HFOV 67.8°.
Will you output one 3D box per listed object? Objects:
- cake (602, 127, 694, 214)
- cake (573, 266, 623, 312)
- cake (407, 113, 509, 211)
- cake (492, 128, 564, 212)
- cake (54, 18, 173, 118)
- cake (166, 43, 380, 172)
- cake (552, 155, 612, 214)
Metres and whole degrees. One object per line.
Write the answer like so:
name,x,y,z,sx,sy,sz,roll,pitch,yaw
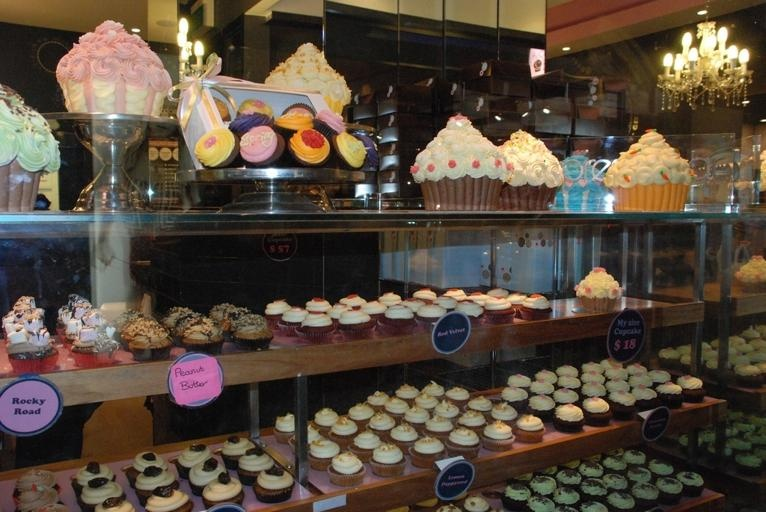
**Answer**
cake,1.126,-0.382,2.632,0.456,0.362,0.424,-1,2,-16
cake,0.944,0.164,2.618,0.220,0.138,0.197,1,1,-24
cake,0.296,-0.381,2.433,0.502,0.326,0.426,0,1,4
cake,0.624,-0.352,2.430,0.378,0.306,0.358,-1,5,-7
cake,-0.783,-0.569,1.851,0.374,0.255,0.340,2,4,1
cake,-0.400,-0.471,2.002,0.713,0.334,0.627,-4,9,-30
cake,0.908,-0.340,2.747,0.341,0.243,0.321,-5,6,-36
